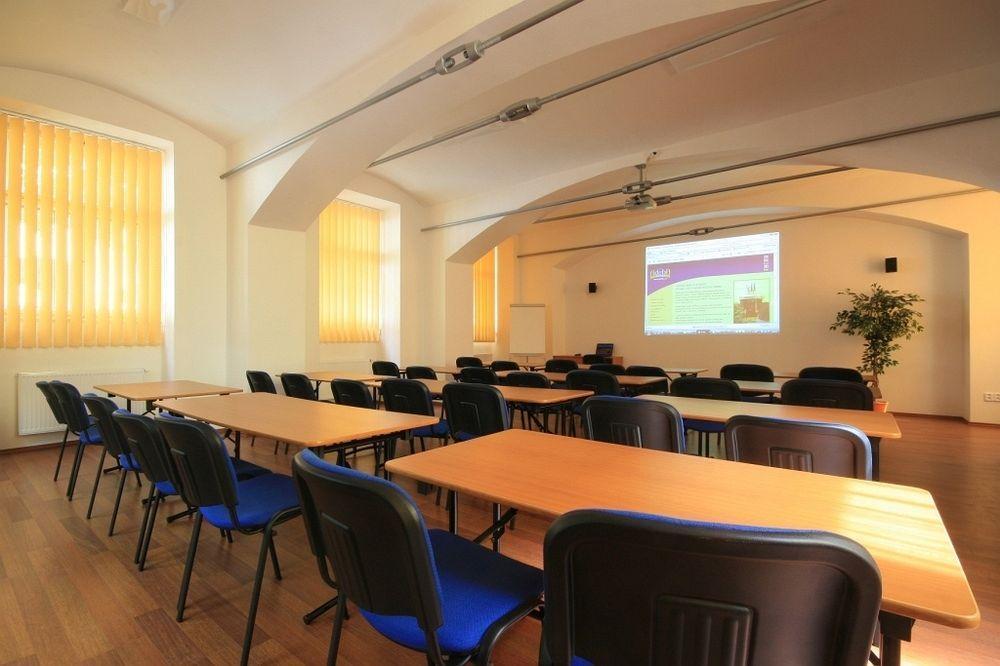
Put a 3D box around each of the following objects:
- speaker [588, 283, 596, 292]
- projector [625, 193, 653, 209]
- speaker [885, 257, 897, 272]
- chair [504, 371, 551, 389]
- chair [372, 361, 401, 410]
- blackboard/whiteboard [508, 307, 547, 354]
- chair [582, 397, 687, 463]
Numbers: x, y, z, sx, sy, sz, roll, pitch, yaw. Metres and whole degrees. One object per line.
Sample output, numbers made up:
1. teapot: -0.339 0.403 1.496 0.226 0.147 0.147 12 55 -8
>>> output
1. speaker: 1.908 -0.947 13.366 0.158 0.181 0.208 5 -5 -37
2. projector: 1.878 -1.774 8.620 0.293 0.119 0.217 8 15 39
3. speaker: 6.214 -1.087 10.194 0.148 0.239 0.194 -3 -18 43
4. chair: 0.295 0.478 7.262 0.319 0.273 0.220 5 15 33
5. chair: -1.566 0.554 8.758 0.330 0.392 0.280 5 5 33
6. blackboard/whiteboard: 0.552 -0.053 13.134 1.049 1.239 0.722 1 -5 -5
7. chair: 1.054 0.669 5.194 0.521 0.805 0.595 5 14 33
